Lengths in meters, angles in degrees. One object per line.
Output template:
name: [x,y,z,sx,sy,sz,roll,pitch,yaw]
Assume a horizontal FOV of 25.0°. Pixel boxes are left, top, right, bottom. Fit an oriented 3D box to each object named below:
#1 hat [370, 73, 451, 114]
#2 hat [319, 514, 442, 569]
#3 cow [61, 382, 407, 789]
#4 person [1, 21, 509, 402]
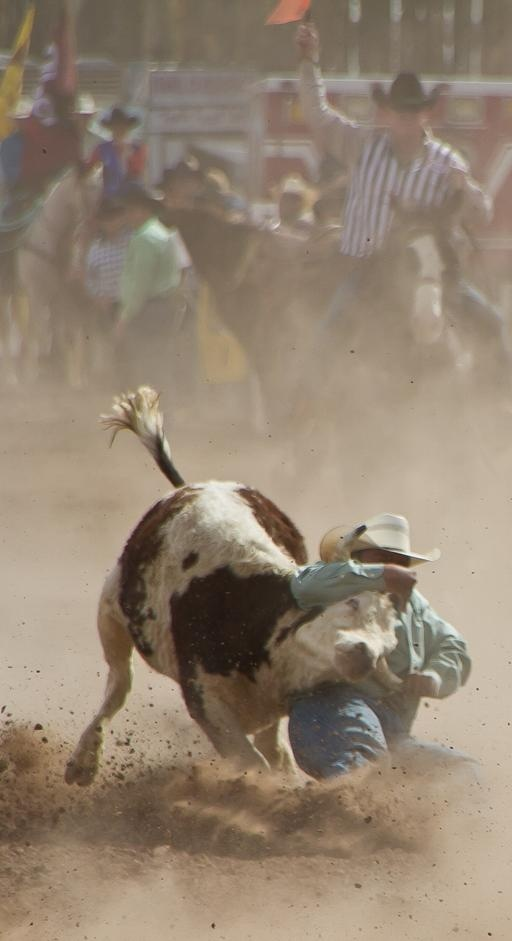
hat: [0.539,-1.357,4.180,0.127,0.096,0.248,-5,26,-12]
hat: [0.375,0.264,3.763,0.232,0.098,0.225,-10,-9,28]
cow: [-0.106,0.498,3.756,0.627,1.350,1.484,1,11,-37]
person: [0.295,-0.943,4.137,1.219,1.202,0.554,-1,20,-9]
